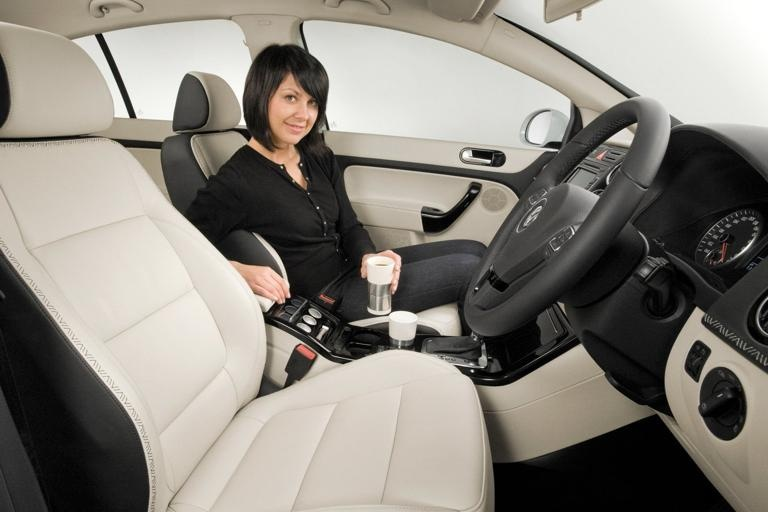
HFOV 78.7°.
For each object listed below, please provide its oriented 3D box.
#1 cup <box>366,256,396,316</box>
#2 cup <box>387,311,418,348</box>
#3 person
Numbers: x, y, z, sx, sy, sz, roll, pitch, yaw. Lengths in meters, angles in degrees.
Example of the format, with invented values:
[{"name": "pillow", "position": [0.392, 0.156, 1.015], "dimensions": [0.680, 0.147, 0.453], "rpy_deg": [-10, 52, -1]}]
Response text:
[{"name": "cup", "position": [-0.008, 0.103, 1.507], "dimensions": [0.094, 0.156, 0.090], "rpy_deg": [3, 8, 0]}, {"name": "cup", "position": [0.060, 0.222, 1.447], "dimensions": [0.083, 0.082, 0.085], "rpy_deg": [3, 17, -1]}, {"name": "person", "position": [-0.092, -0.243, 1.778], "dimensions": [1.263, 0.950, 0.776], "rpy_deg": [2, 21, 8]}]
